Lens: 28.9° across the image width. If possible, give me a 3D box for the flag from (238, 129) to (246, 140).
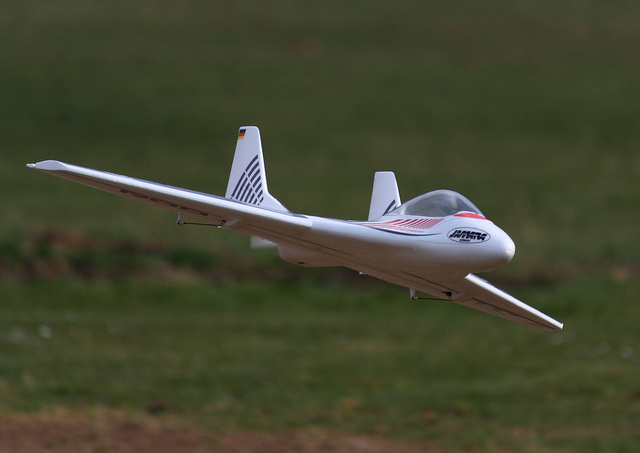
[{"bbox_3d":[-1.169,-1.379,18.533,0.081,0.153,0.146,-4,14,-38],"label":"flag"}]
